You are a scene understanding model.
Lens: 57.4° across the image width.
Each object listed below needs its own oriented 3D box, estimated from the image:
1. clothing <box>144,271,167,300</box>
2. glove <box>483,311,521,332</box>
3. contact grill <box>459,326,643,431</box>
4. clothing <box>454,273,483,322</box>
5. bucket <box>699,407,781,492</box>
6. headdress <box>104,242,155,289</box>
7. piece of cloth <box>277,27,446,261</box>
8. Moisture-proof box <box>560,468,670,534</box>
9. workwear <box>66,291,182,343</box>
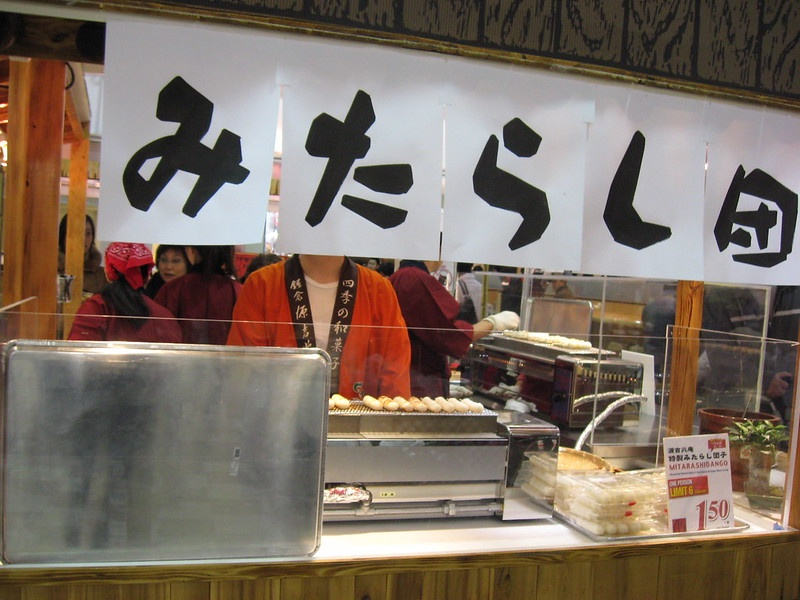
[{"bbox_3d":[-1.255,-0.071,3.764,0.083,0.124,0.047,6,-23,-4],"label":"clothing"},{"bbox_3d":[0.439,0.096,3.050,0.104,0.049,0.082,4,12,-11],"label":"glove"},{"bbox_3d":[0.570,0.315,2.912,0.416,0.274,0.652,-9,15,-37],"label":"contact grill"},{"bbox_3d":[0.375,0.009,4.370,0.144,0.281,0.190,-16,2,-20],"label":"clothing"},{"bbox_3d":[1.363,0.580,3.007,0.282,0.331,0.326,0,0,18],"label":"bucket"},{"bbox_3d":[-1.182,-0.202,3.202,0.236,0.131,0.324,7,22,-22],"label":"headdress"},{"bbox_3d":[-0.145,-0.540,2.476,0.714,0.923,0.011,0,5,-12],"label":"piece of cloth"},{"bbox_3d":[0.818,0.762,2.746,0.216,0.097,0.312,-1,0,-27],"label":"Moisture-proof box"},{"bbox_3d":[-0.930,0.090,2.520,0.308,0.255,0.163,1,-2,-8],"label":"workwear"}]
